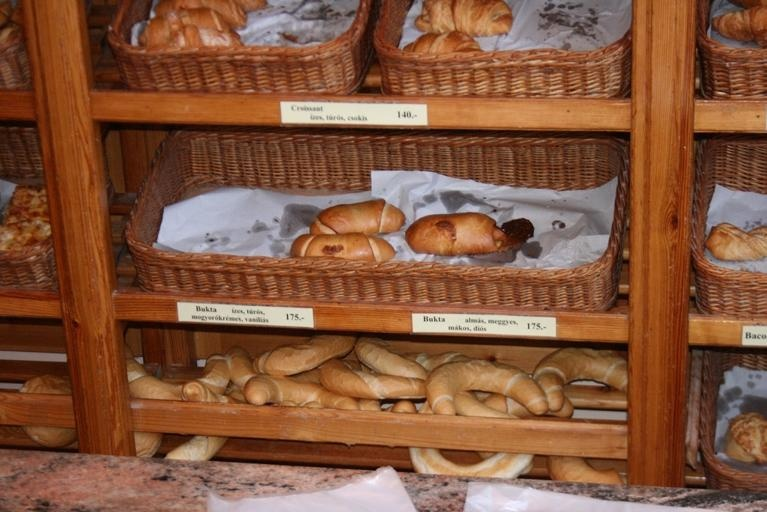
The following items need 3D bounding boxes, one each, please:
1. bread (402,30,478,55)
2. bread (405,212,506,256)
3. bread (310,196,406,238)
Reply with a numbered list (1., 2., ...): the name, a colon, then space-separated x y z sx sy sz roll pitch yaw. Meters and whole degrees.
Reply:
1. bread: 0.135 -0.484 1.487 0.166 0.067 0.180 -2 13 4
2. bread: 0.189 -0.054 1.705 0.240 0.048 0.117 -2 8 0
3. bread: -0.062 -0.101 1.780 0.289 0.066 0.108 -3 -5 1
